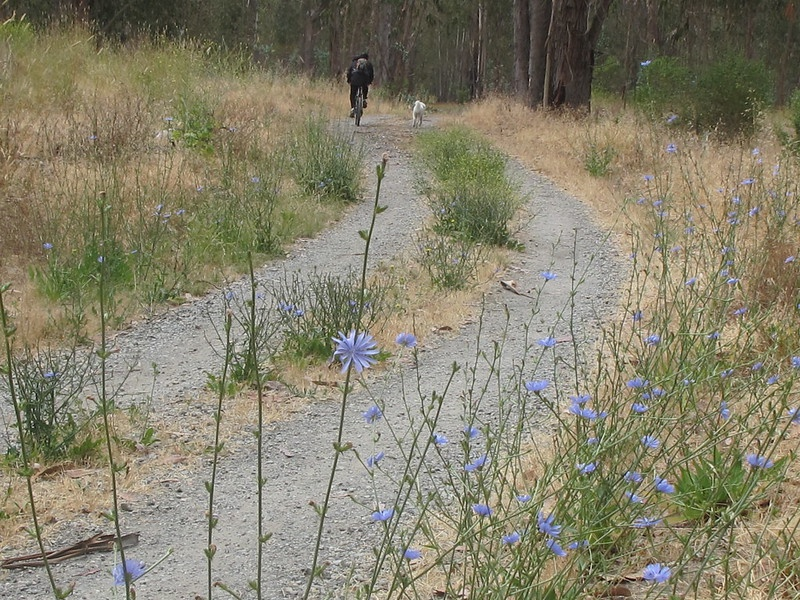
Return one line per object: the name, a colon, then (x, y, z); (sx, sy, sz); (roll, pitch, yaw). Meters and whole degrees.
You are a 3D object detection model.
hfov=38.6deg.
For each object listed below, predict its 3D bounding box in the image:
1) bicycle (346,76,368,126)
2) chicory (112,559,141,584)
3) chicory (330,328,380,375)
bicycle: (-0.934, -4.381, 25.355); (0.328, 0.542, 0.841); (2, 29, -4)
chicory: (-2.259, 2.203, 9.498); (0.173, 0.122, 0.201); (-7, -26, -27)
chicory: (-0.393, 0.438, 9.604); (0.416, 0.257, 0.469); (0, 5, -16)
